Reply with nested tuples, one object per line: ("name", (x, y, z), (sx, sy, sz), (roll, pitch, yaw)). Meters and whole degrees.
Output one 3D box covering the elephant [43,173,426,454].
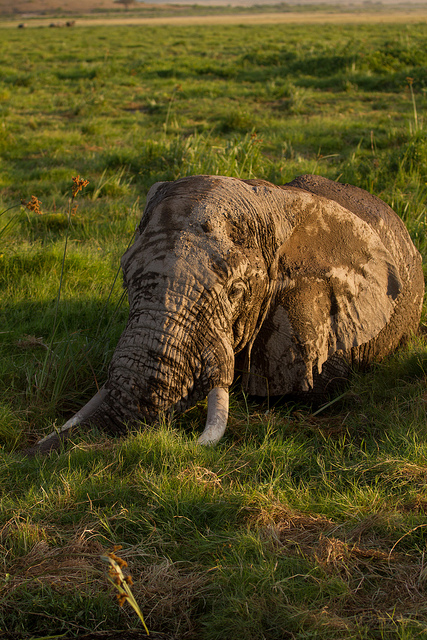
("elephant", (0.236, -0.127, 3.649), (0.849, 1.087, 2.119), (13, 20, 30))
